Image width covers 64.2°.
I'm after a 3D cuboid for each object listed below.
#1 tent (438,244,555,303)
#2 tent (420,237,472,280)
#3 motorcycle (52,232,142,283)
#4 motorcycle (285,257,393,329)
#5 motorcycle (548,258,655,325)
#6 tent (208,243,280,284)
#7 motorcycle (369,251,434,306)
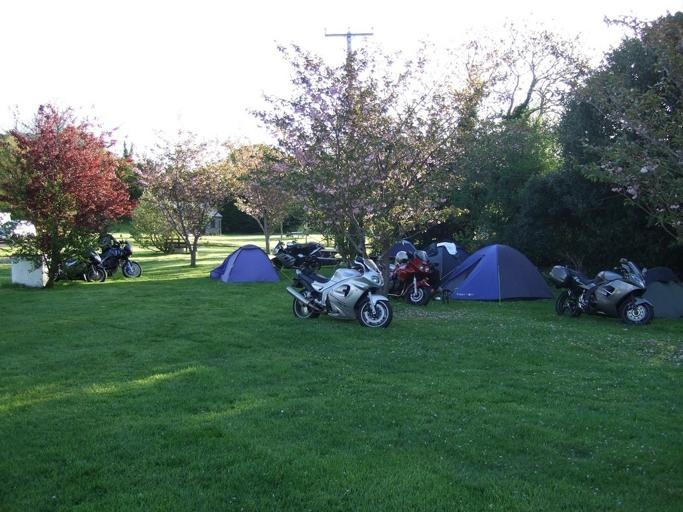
[{"bbox_3d":[4.366,0.593,15.565,1.813,1.118,2.119,0,-2,-27],"label":"tent"},{"bbox_3d":[3.536,0.053,17.862,1.273,0.995,1.304,-9,15,-18],"label":"tent"},{"bbox_3d":[-9.081,0.370,20.803,2.575,1.586,1.279,-11,20,-20],"label":"motorcycle"},{"bbox_3d":[0.084,0.723,12.873,2.988,1.983,1.116,2,6,28],"label":"motorcycle"},{"bbox_3d":[6.043,0.822,12.774,0.767,1.575,2.453,10,-3,-30],"label":"motorcycle"},{"bbox_3d":[-3.342,0.114,21.029,2.052,1.195,2.420,-18,5,-8],"label":"tent"},{"bbox_3d":[1.691,0.566,16.119,0.942,1.706,2.738,18,-7,-32],"label":"motorcycle"}]
